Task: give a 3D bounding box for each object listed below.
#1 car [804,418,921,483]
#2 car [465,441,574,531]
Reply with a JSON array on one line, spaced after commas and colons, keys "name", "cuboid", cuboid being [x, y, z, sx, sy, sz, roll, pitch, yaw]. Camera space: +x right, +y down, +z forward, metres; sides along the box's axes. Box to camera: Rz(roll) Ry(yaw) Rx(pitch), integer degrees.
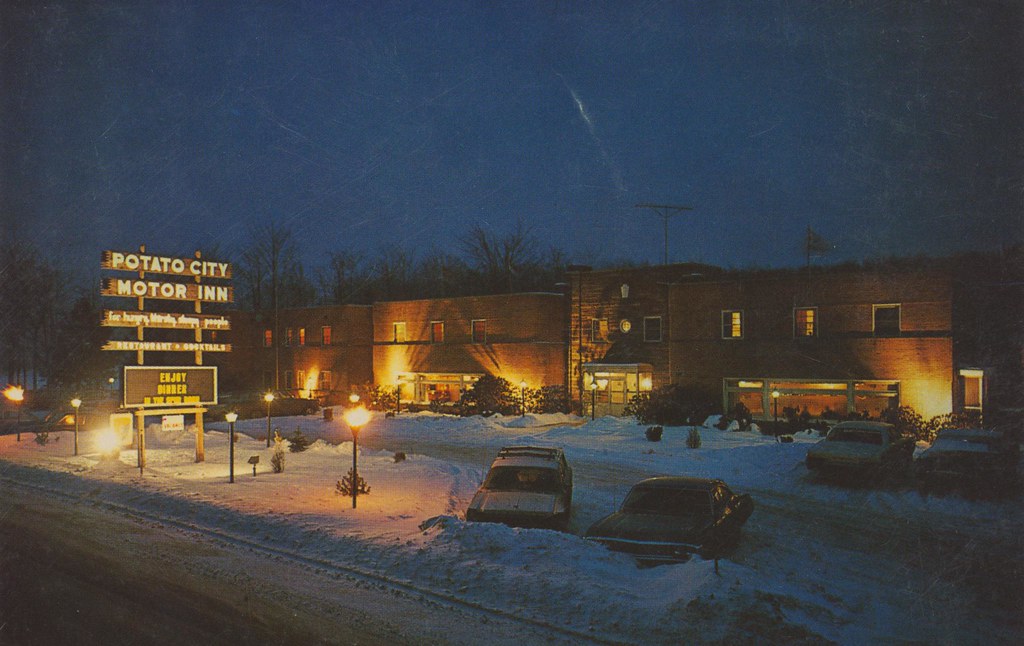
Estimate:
[{"name": "car", "cuboid": [13.274, 5.069, 34.598, 4.141, 1.903, 2.274, -5, 10, -24]}, {"name": "car", "cuboid": [0.343, 5.596, 30.225, 3.131, 1.568, 3.057, 1, 9, 8]}]
